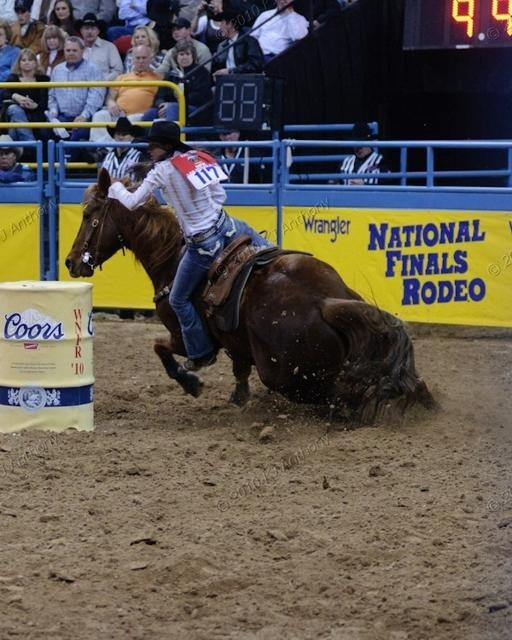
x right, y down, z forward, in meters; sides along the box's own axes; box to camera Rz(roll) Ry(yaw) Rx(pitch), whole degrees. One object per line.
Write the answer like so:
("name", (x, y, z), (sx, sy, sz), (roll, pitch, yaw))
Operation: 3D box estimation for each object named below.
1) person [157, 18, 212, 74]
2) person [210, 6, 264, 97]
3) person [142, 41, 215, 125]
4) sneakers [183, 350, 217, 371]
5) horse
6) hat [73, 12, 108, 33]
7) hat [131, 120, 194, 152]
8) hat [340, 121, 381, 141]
("person", (-0.965, -3.455, 12.841), (0.692, 0.813, 0.675), (-8, 20, -22))
("person", (-0.293, -3.391, 12.479), (0.651, 0.849, 0.865), (-11, 11, -37))
("person", (-1.011, -2.824, 12.299), (0.595, 1.079, 0.861), (27, 35, 28))
("sneakers", (-0.383, 0.277, 6.793), (0.309, 0.121, 0.095), (-11, 46, 13))
("horse", (-0.083, -0.184, 6.666), (2.318, 1.660, 1.027), (7, 14, 42))
("hat", (-2.310, -4.076, 13.706), (0.431, 0.149, 0.444), (-1, -1, 1))
("hat", (-0.600, -1.195, 6.427), (0.315, 0.099, 0.259), (14, -4, -23))
("hat", (1.214, -2.155, 11.551), (0.483, 0.157, 0.496), (1, 6, 11))
